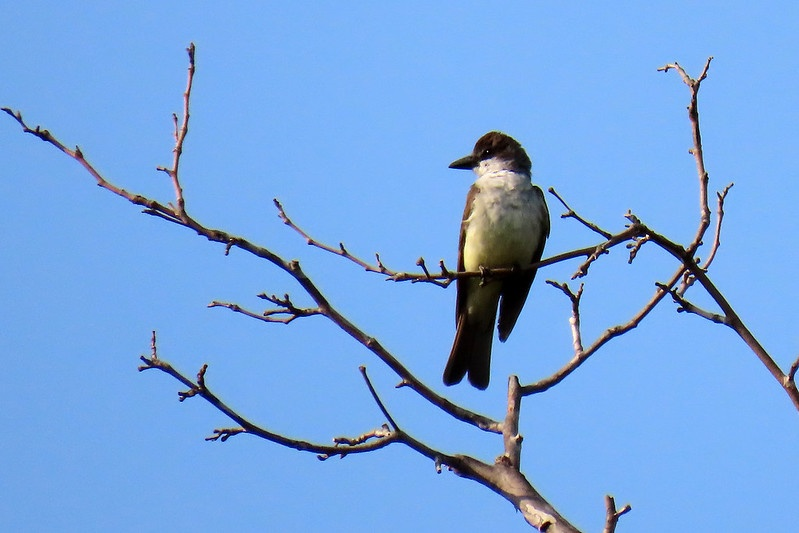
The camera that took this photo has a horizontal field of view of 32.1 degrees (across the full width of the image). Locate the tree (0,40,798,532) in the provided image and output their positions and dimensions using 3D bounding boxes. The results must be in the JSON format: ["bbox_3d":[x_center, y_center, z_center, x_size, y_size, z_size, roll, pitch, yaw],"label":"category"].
[{"bbox_3d":[0.367,0.485,7.749,3.311,3.058,1.688,-1,-91,8],"label":"tree"}]
